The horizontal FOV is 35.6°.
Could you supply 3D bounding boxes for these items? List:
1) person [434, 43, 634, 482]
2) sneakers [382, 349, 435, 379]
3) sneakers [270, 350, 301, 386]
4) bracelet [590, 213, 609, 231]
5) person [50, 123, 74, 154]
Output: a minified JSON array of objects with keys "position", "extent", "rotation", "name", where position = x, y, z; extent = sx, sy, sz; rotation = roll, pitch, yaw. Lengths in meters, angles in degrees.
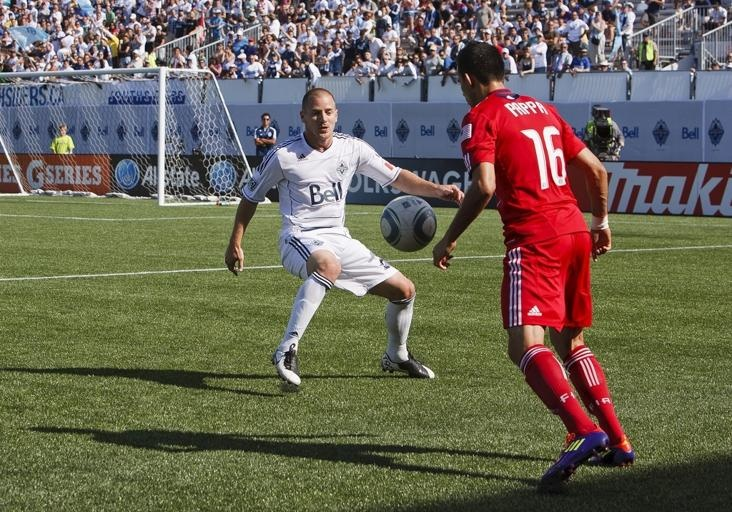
[{"position":[1.256,-0.023,7.873],"extent":[1.143,2.817,1.560],"rotation":[-7,14,-30],"name":"person"},{"position":[0.338,0.869,9.265],"extent":[0.482,0.221,0.178],"rotation":[9,7,-7],"name":"sneakers"},{"position":[-0.616,0.847,8.823],"extent":[0.192,0.231,0.223],"rotation":[-1,13,-7],"name":"sneakers"},{"position":[1.713,-0.255,8.304],"extent":[0.107,0.087,0.112],"rotation":[-1,11,1],"name":"bracelet"},{"position":[-7.282,-2.830,27.304],"extent":[0.463,0.663,1.236],"rotation":[-4,13,-17],"name":"person"}]
